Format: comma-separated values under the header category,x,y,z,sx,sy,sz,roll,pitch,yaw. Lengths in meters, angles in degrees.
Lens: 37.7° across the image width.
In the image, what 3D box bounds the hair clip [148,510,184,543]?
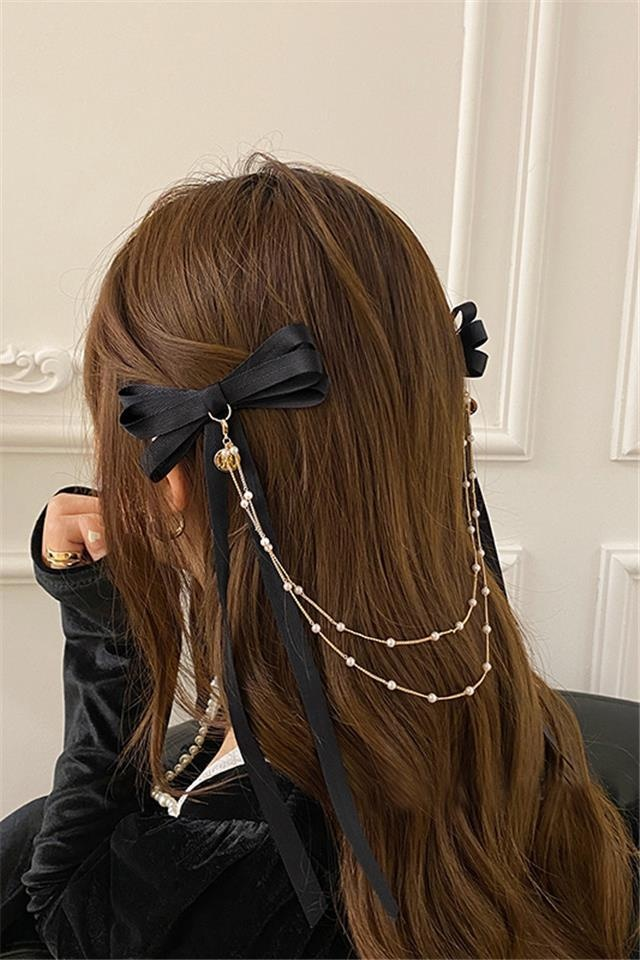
category,x,y,z,sx,sy,sz,roll,pitch,yaw
hair clip,-0.185,0.053,1.095,0.041,0.036,0.010,-14,11,6
